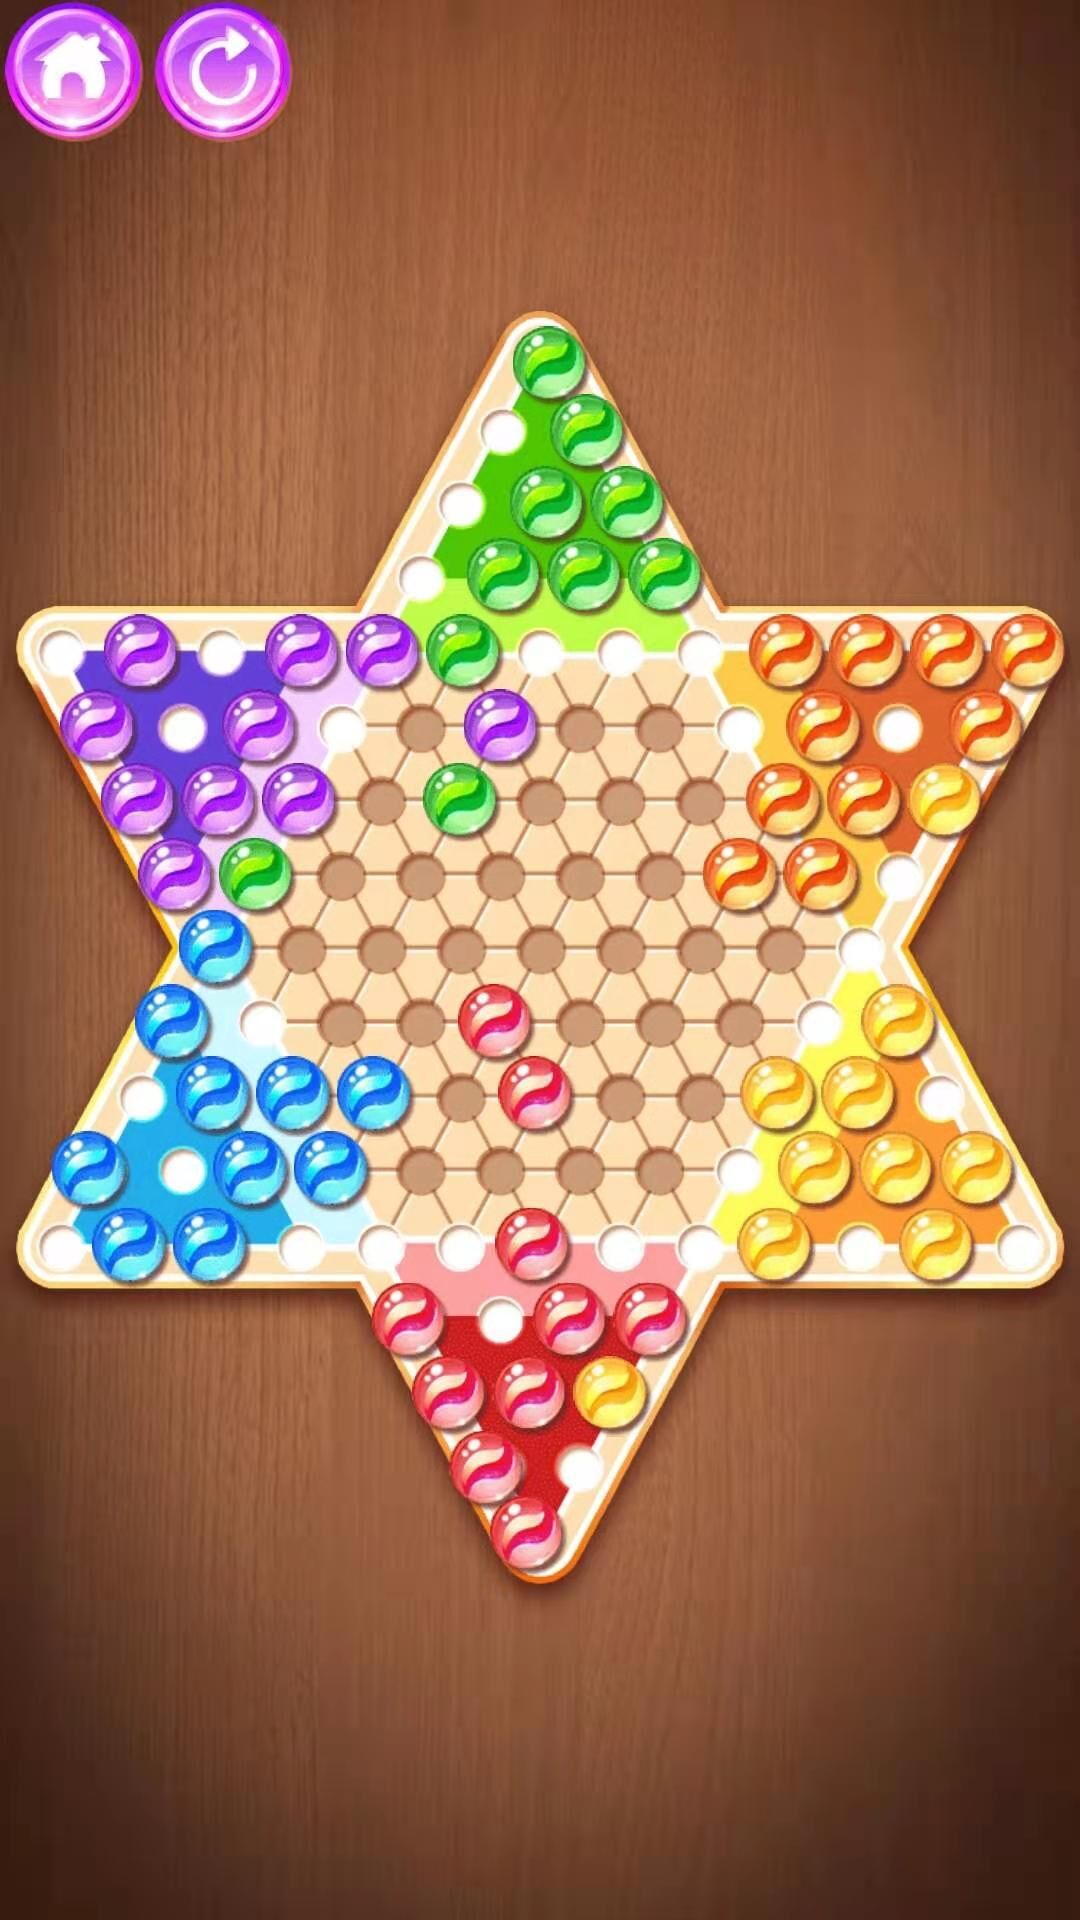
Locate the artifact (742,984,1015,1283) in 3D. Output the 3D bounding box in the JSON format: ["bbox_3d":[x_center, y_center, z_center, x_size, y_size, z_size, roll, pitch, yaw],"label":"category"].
[{"bbox_3d":[0.280,0.142,1.411,0.233,0.077,0.245,1,77,0],"label":"artifact"}]
